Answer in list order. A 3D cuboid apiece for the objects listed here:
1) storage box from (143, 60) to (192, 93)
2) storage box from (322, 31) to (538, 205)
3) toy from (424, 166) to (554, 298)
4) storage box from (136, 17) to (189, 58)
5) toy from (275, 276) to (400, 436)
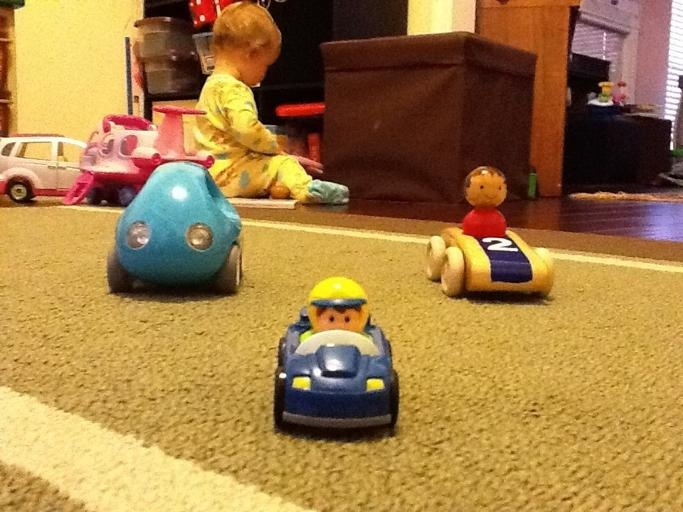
[{"bbox_3d":[-1.327,-1.366,4.262,0.251,0.185,0.341,7,13,31],"label":"storage box"},{"bbox_3d":[0.469,-0.732,2.950,1.128,0.719,1.083,3,15,12],"label":"storage box"},{"bbox_3d":[0.298,-0.062,1.130,0.224,0.232,0.309,-5,18,-3],"label":"toy"},{"bbox_3d":[-1.348,-1.660,4.243,0.328,0.237,0.450,2,16,19],"label":"storage box"},{"bbox_3d":[-0.008,0.096,0.584,0.099,0.100,0.186,2,17,-2],"label":"toy"}]
